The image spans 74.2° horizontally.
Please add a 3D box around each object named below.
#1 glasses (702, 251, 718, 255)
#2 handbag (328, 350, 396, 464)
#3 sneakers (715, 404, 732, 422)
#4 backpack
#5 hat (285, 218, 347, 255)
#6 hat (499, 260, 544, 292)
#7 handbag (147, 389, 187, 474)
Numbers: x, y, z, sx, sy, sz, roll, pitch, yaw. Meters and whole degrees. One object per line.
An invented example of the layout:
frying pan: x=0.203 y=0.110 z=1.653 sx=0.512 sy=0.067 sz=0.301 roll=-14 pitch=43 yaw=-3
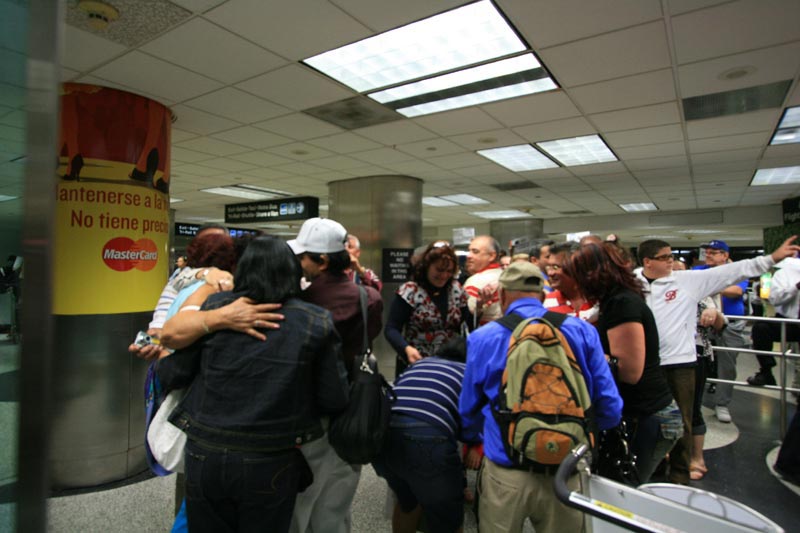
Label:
glasses: x=3.902 y=-0.174 z=6.658 sx=0.155 sy=0.042 sz=0.096 roll=2 pitch=2 yaw=6
handbag: x=-0.216 y=0.889 z=3.138 sx=0.405 sy=0.689 sz=0.291 roll=-1 pitch=3 yaw=-15
sneakers: x=3.721 y=1.702 z=6.077 sx=0.111 sy=0.127 sz=0.308 roll=-4 pitch=-12 yaw=14
backpack: x=0.792 y=0.721 z=2.921 sx=0.537 sy=0.848 sz=0.237 roll=1 pitch=3 yaw=19
hat: x=-0.536 y=-0.202 z=3.449 sx=0.326 sy=0.175 sz=0.213 roll=3 pitch=1 yaw=-3
hat: x=0.736 y=0.055 z=3.151 sx=0.172 sy=0.109 sz=0.230 roll=2 pitch=3 yaw=1
handbag: x=-1.350 y=0.984 z=3.117 sx=0.203 sy=0.417 sz=0.389 roll=13 pitch=-25 yaw=-23
